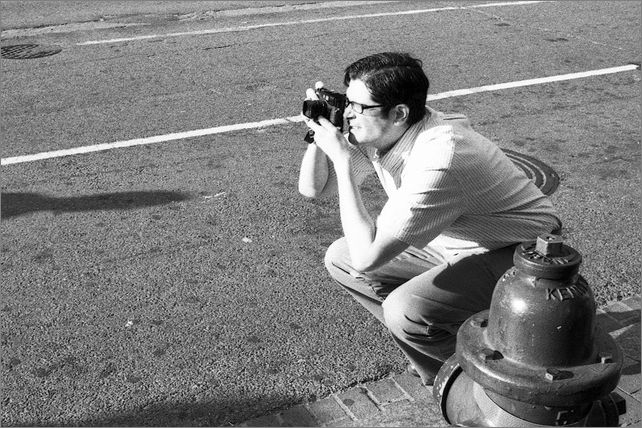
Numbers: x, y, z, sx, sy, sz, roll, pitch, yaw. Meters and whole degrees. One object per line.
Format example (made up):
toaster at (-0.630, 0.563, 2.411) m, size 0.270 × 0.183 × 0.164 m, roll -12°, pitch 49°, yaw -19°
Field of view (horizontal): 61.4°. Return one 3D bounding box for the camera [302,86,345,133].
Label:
camera at (-0.003, -0.598, 2.999) m, size 0.188 × 0.154 × 0.238 m, roll -9°, pitch 33°, yaw -23°
